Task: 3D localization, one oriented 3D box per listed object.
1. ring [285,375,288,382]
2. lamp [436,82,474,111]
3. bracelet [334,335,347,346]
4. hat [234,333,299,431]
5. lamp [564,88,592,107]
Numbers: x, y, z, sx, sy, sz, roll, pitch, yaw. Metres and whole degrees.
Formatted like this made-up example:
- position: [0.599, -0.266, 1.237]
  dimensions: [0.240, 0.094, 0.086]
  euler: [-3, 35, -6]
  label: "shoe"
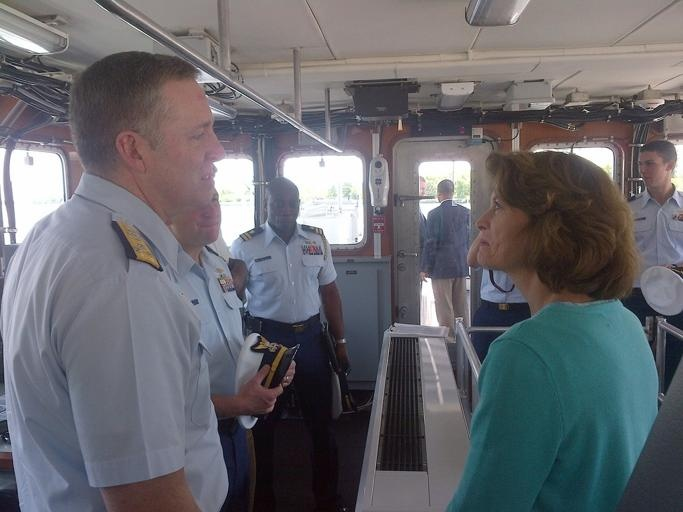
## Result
- position: [-0.237, 0.525, 2.489]
  dimensions: [0.006, 0.017, 0.017]
  euler: [4, 2, 33]
  label: "ring"
- position: [0.984, -1.402, 5.084]
  dimensions: [0.283, 0.115, 0.808]
  euler: [0, 6, 9]
  label: "lamp"
- position: [-0.014, 0.615, 4.244]
  dimensions: [0.107, 0.072, 0.109]
  euler: [-6, -9, -1]
  label: "bracelet"
- position: [-0.330, 0.510, 2.478]
  dimensions: [0.203, 0.369, 0.275]
  euler: [17, -16, -3]
  label: "hat"
- position: [2.128, -1.430, 5.287]
  dimensions: [0.143, 0.152, 0.096]
  euler: [-2, 7, 18]
  label: "lamp"
